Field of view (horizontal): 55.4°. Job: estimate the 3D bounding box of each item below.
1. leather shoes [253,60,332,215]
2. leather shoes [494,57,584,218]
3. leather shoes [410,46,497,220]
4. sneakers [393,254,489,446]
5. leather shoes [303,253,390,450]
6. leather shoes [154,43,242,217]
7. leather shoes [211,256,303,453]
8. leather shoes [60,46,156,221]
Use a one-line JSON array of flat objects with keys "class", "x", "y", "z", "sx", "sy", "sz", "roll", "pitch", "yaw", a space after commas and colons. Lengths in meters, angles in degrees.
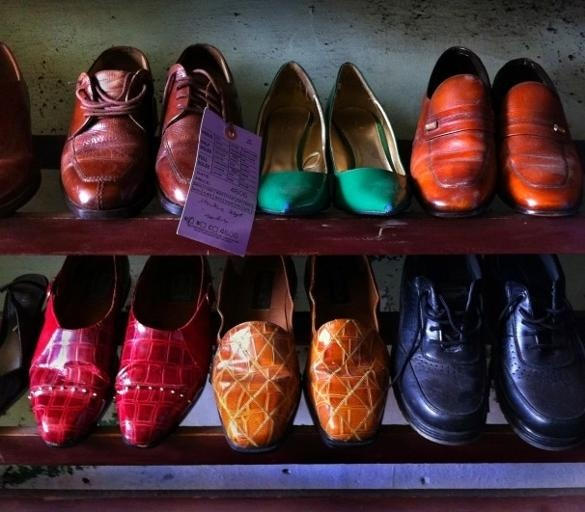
[{"class": "leather shoes", "x": -0.006, "y": -0.223, "z": 1.107, "sx": 0.106, "sy": 0.127, "sz": 0.375, "roll": 0, "pitch": 59, "yaw": 3}, {"class": "leather shoes", "x": 0.452, "y": -0.248, "z": 1.099, "sx": 0.119, "sy": 0.127, "sz": 0.406, "roll": -6, "pitch": 60, "yaw": 12}, {"class": "leather shoes", "x": 0.302, "y": -0.204, "z": 1.064, "sx": 0.125, "sy": 0.131, "sz": 0.395, "roll": 1, "pitch": 60, "yaw": 18}, {"class": "sneakers", "x": 0.295, "y": 0.144, "z": 1.139, "sx": 0.131, "sy": 0.150, "sz": 0.431, "roll": 0, "pitch": 54, "yaw": 8}, {"class": "leather shoes", "x": 0.101, "y": 0.184, "z": 1.088, "sx": 0.114, "sy": 0.117, "sz": 0.411, "roll": -1, "pitch": 63, "yaw": 2}, {"class": "leather shoes", "x": -0.186, "y": -0.247, "z": 1.078, "sx": 0.122, "sy": 0.121, "sz": 0.398, "roll": 2, "pitch": 65, "yaw": -8}, {"class": "leather shoes", "x": -0.068, "y": 0.194, "z": 1.086, "sx": 0.124, "sy": 0.106, "sz": 0.423, "roll": 1, "pitch": 60, "yaw": 0}, {"class": "leather shoes", "x": -0.328, "y": -0.215, "z": 1.068, "sx": 0.126, "sy": 0.148, "sz": 0.403, "roll": 1, "pitch": 57, "yaw": -9}]
